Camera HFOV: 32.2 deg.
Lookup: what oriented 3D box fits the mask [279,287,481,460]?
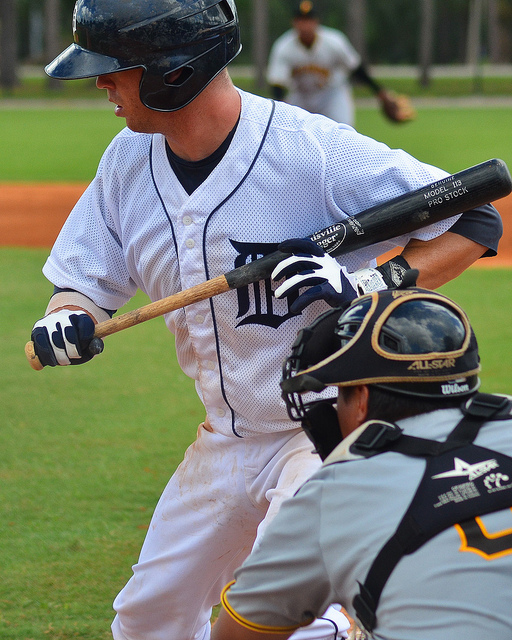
[{"bbox_3d":[0.230,0.085,1.653,0.363,0.277,0.415,-3,-1,-28],"label":"mask"}]
